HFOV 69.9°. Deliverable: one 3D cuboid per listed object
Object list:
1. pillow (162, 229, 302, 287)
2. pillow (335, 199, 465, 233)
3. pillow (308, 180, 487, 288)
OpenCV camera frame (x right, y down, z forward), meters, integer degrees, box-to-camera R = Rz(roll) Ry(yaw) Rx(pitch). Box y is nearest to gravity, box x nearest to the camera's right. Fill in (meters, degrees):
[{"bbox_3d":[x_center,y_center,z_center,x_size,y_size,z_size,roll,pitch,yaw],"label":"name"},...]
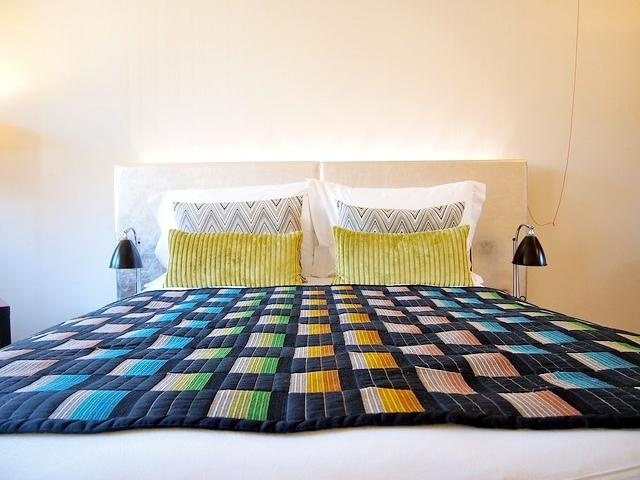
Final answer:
[{"bbox_3d":[-0.424,0.103,2.257,0.662,0.189,0.303,1,-92,-2],"label":"pillow"},{"bbox_3d":[0.418,-0.118,2.381,0.645,0.137,0.206,0,-77,9],"label":"pillow"},{"bbox_3d":[0.365,-0.030,2.326,0.623,0.177,0.367,0,-101,3],"label":"pillow"}]
